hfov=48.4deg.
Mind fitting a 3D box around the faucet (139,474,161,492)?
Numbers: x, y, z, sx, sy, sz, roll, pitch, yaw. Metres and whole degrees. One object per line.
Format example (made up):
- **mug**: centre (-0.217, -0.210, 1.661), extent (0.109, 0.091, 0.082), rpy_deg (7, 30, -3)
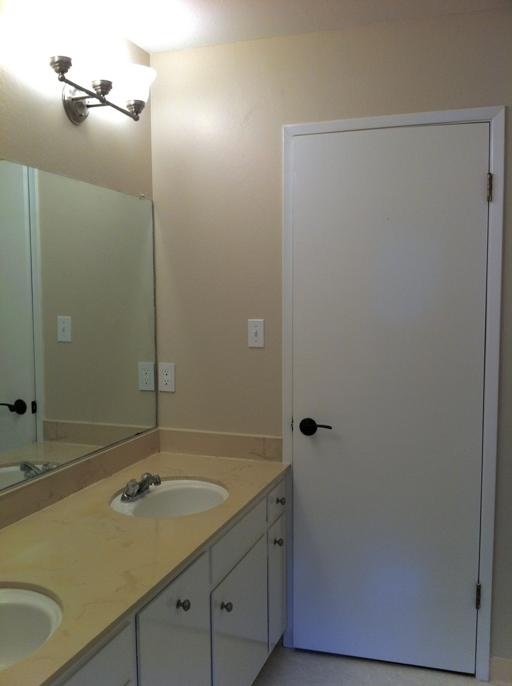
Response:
- **faucet**: centre (-0.349, 0.471, 1.897), extent (0.031, 0.053, 0.100), rpy_deg (-2, -13, 13)
